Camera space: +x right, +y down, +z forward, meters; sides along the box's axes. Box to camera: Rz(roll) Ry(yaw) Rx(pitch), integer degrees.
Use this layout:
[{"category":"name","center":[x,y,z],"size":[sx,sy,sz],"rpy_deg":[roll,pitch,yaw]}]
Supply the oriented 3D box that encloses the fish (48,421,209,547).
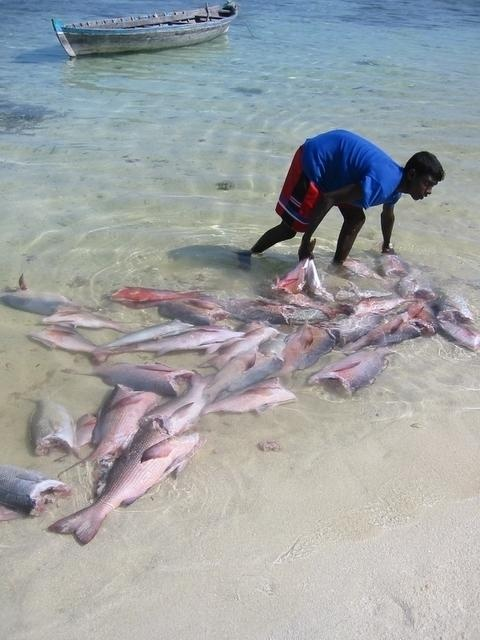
[{"category":"fish","center":[-0.586,0.825,3.546],"size":[0.947,0.261,0.395],"rpy_deg":[-31,27,-37]}]

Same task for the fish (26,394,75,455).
[{"category":"fish","center":[-1.113,0.617,3.872],"size":[0.271,0.122,0.384],"rpy_deg":[-1,44,-22]}]

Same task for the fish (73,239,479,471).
[{"category":"fish","center":[0.520,0.005,5.017],"size":[2.678,0.477,1.497],"rpy_deg":[-13,41,-14]}]

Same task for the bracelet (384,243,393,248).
[{"category":"bracelet","center":[1.383,-0.694,6.170],"size":[0.067,0.067,0.056],"rpy_deg":[-19,72,14]}]

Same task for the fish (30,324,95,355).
[{"category":"fish","center":[-1.226,0.134,4.589],"size":[0.573,0.151,0.187],"rpy_deg":[11,30,11]}]

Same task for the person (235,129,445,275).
[{"category":"person","center":[0.733,-0.863,5.481],"size":[1.524,1.318,0.788],"rpy_deg":[19,40,16]}]
